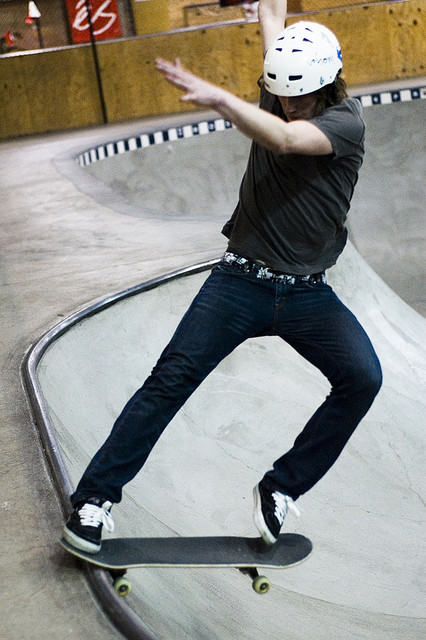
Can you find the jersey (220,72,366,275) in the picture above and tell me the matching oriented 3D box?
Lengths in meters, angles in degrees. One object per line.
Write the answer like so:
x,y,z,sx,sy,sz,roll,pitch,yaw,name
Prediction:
0.298,-0.489,2.473,0.516,0.633,0.347,1,22,15,jersey
